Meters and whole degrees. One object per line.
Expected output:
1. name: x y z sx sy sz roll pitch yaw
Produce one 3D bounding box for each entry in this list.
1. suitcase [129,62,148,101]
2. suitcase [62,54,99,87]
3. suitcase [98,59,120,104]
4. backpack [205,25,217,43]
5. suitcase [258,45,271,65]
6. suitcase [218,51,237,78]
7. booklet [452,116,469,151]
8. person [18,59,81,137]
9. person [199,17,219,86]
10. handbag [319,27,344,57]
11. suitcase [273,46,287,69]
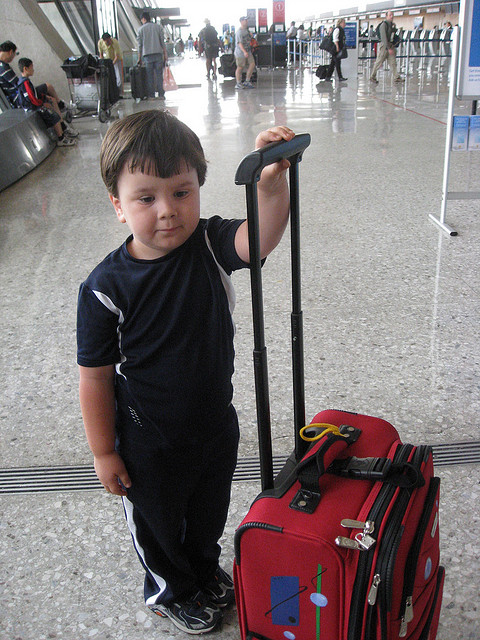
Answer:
1. suitcase: -2.185 -5.132 10.864 0.388 0.682 0.671 -10 30 -7
2. suitcase: -2.715 -4.266 8.511 0.452 0.594 0.348 4 6 22
3. suitcase: -2.411 -4.384 9.257 0.231 0.799 1.275 -10 30 -8
4. backpack: -0.881 -8.677 15.187 0.370 0.474 0.494 -6 30 -1
5. suitcase: 0.969 -10.484 19.802 0.512 0.728 0.867 -4 30 3
6. suitcase: -0.344 -8.347 16.461 0.419 0.679 1.076 -19 32 -22
7. booklet: 1.462 -1.237 3.309 0.102 0.214 0.104 7 32 20
8. person: -2.808 -3.202 7.262 0.631 1.122 0.486 -16 47 -13
9. person: -0.995 -8.545 15.723 0.529 1.610 0.497 -11 28 -15
10. handbag: 2.381 -7.122 12.852 0.462 0.601 0.180 0 24 -19
11. suitcase: 1.593 -10.472 19.923 0.486 0.793 0.895 -2 30 6
